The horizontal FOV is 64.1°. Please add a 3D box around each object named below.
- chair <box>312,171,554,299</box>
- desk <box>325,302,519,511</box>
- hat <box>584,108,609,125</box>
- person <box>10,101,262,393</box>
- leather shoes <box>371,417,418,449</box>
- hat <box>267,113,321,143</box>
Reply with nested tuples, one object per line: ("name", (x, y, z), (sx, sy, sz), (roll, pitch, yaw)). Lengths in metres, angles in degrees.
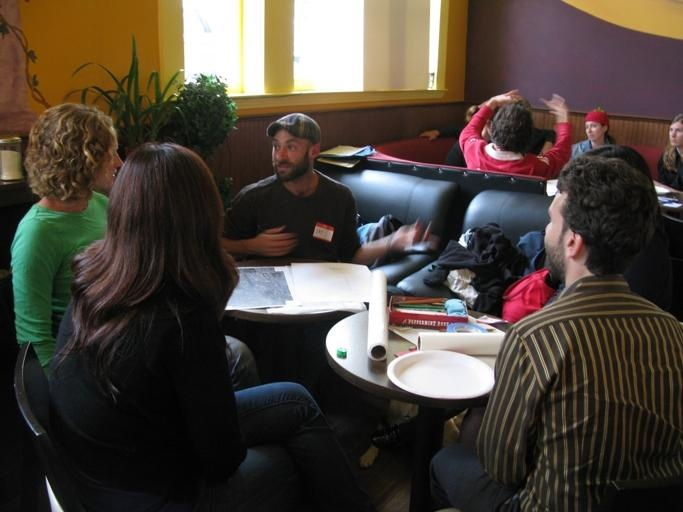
("chair", (0.568, 0.033, 3.509), (1.387, 0.635, 0.679), (12, 22, 41))
("desk", (0.171, 0.611, 2.014), (0.614, 0.704, 0.618), (-3, 24, -8))
("hat", (2.180, -1.182, 4.663), (0.158, 0.136, 0.205), (6, 14, 27))
("person", (-0.710, -0.186, 2.558), (1.018, 1.517, 0.708), (-3, 4, -11))
("leather shoes", (0.189, 0.779, 2.422), (0.262, 0.094, 0.106), (-19, -6, -3))
("hat", (-0.237, -0.622, 2.678), (0.246, 0.142, 0.123), (-1, 12, 0))
